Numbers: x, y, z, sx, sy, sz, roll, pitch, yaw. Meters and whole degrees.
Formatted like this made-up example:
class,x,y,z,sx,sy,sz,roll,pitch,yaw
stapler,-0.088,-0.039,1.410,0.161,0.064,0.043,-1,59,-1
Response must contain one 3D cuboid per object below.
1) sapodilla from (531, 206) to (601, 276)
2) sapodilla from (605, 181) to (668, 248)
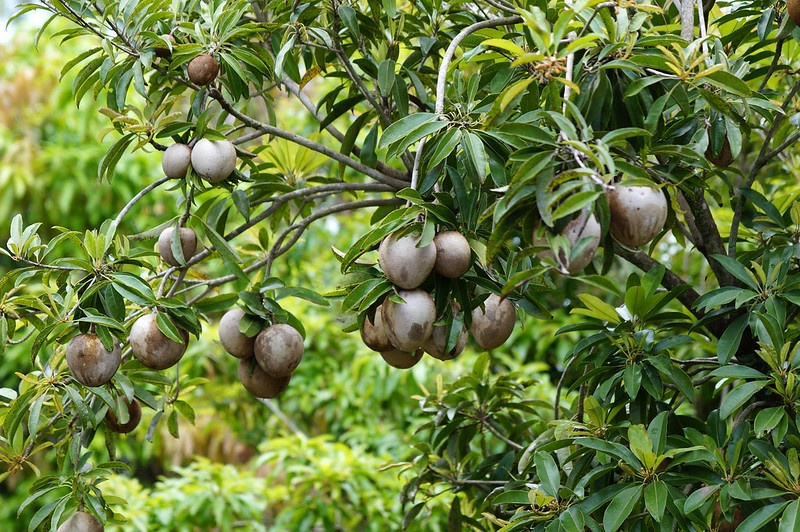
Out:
class,x,y,z,sx,sy,sz,roll,pitch,yaw
sapodilla,0.510,-0.083,3.111,0.148,0.207,0.173,4,91,28
sapodilla,0.706,-0.154,3.106,0.162,0.171,0.186,-1,97,21
